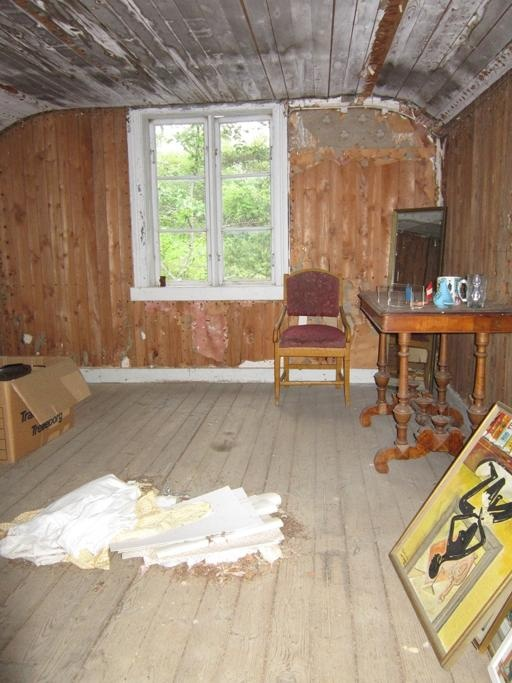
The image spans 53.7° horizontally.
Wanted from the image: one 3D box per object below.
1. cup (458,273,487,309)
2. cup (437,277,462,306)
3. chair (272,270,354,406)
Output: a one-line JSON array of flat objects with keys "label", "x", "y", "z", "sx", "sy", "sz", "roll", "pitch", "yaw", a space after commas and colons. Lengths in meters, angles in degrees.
[{"label": "cup", "x": 1.053, "y": -0.253, "z": 2.510, "sx": 0.095, "sy": 0.151, "sz": 0.251, "roll": 0, "pitch": 8, "yaw": 5}, {"label": "cup", "x": 0.970, "y": -0.257, "z": 2.582, "sx": 0.127, "sy": 0.146, "sz": 0.141, "roll": 1, "pitch": 14, "yaw": 9}, {"label": "chair", "x": 0.438, "y": -0.071, "z": 3.941, "sx": 0.598, "sy": 0.963, "sz": 0.887, "roll": 0, "pitch": 8, "yaw": 8}]
